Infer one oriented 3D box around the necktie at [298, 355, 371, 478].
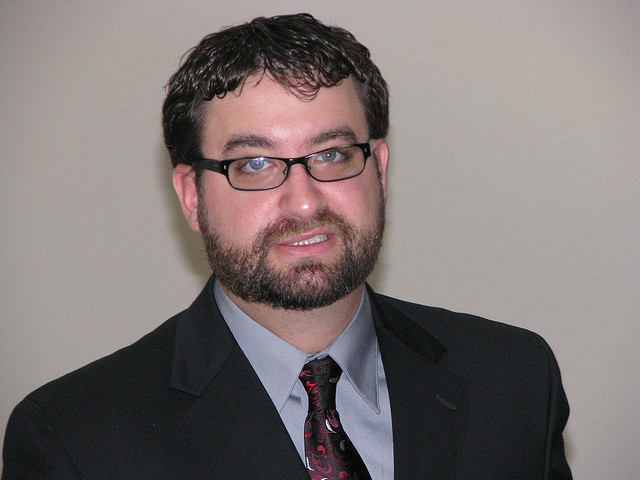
[{"bbox_3d":[0.040,0.609,2.461,0.209,0.415,0.155,-6,0,-1],"label":"necktie"}]
